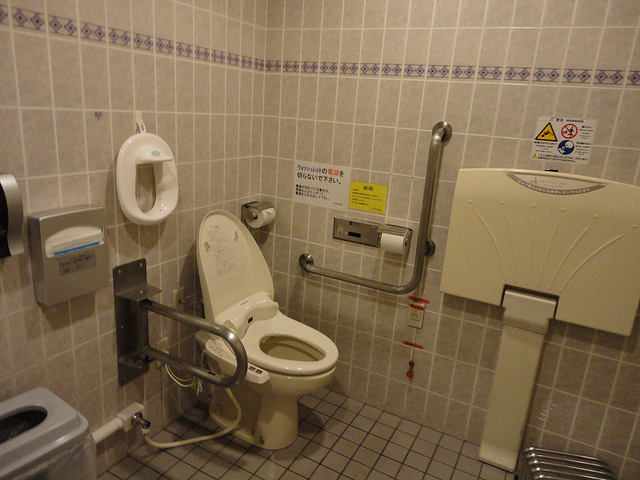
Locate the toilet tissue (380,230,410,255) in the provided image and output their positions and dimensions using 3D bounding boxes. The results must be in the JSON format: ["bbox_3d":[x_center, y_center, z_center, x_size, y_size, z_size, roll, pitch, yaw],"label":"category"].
[{"bbox_3d":[0.391,0.016,2.554,0.138,0.118,0.126,8,-7,20],"label":"toilet tissue"}]

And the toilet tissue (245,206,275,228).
[{"bbox_3d":[-0.335,-0.145,2.876,0.120,0.123,0.142,-2,18,36],"label":"toilet tissue"}]

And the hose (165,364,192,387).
[{"bbox_3d":[-0.759,0.778,2.674,0.012,0.141,0.156,-29,36,21],"label":"hose"}]

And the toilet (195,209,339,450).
[{"bbox_3d":[-0.289,0.497,2.611,0.756,1.158,0.628,20,31,24],"label":"toilet"}]
